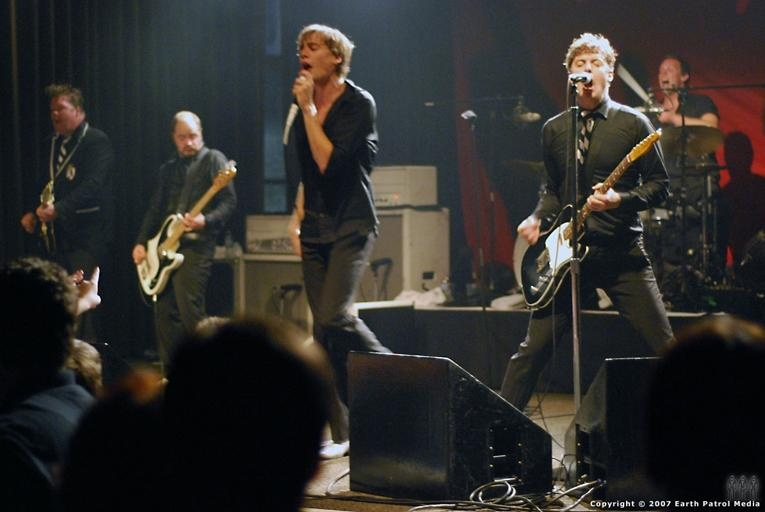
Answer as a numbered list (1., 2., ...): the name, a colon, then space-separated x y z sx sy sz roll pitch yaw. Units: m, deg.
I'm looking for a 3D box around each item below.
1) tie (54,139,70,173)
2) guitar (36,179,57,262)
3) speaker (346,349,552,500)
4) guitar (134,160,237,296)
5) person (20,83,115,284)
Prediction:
1. tie: -2.494 -0.764 6.647 0.214 0.217 0.053 -8 -11 41
2. guitar: -2.591 -0.264 6.647 0.139 0.634 0.106 -8 -9 34
3. speaker: 0.291 0.827 4.235 0.650 0.704 0.882 1 -4 -32
4. guitar: -1.523 -0.228 6.461 0.412 1.163 0.163 46 11 36
5. person: -2.454 -0.589 6.574 0.652 1.464 0.487 0 -2 32
